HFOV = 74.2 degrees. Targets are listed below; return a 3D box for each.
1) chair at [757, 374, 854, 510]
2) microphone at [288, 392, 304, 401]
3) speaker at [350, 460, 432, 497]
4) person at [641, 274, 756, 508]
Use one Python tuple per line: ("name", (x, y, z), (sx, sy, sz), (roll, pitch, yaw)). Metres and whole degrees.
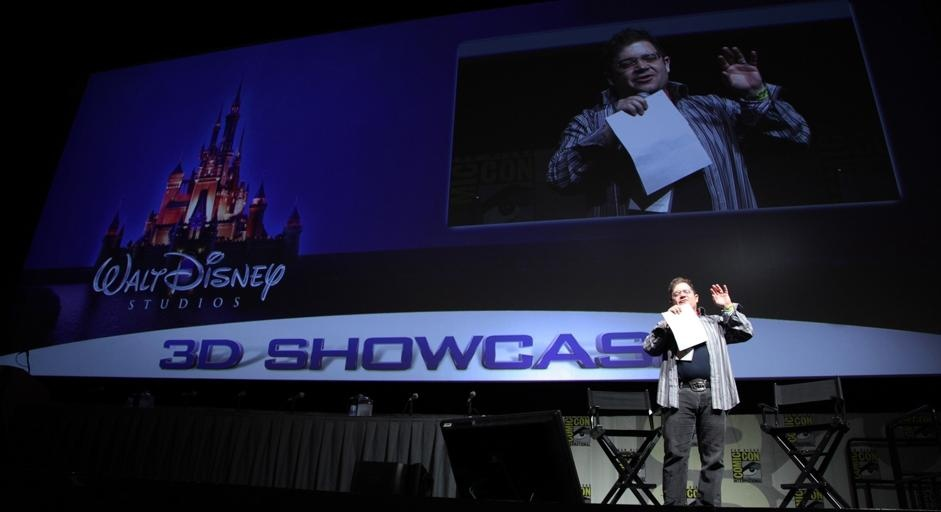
("chair", (4.189, 2.334, 7.810), (0.966, 1.539, 1.079), (-8, -21, 22))
("microphone", (-2.529, 2.026, 9.040), (0.126, 0.111, 0.386), (19, -10, -4))
("speaker", (-0.816, 2.290, 6.451), (0.822, 0.306, 0.338), (2, -19, -6))
("person", (2.653, 1.534, 7.290), (1.136, 2.597, 0.699), (-3, -21, 11))
